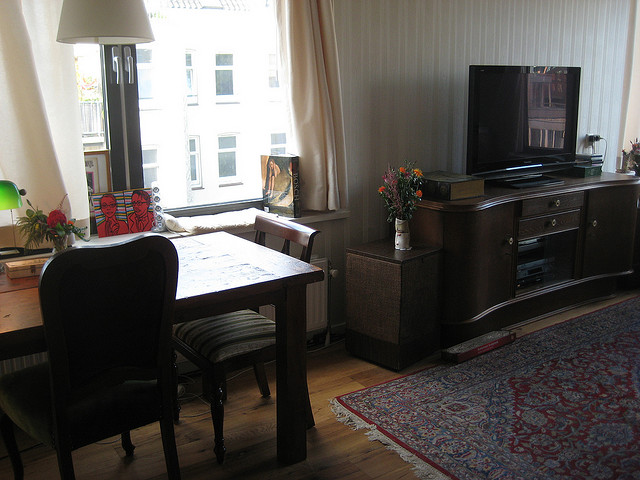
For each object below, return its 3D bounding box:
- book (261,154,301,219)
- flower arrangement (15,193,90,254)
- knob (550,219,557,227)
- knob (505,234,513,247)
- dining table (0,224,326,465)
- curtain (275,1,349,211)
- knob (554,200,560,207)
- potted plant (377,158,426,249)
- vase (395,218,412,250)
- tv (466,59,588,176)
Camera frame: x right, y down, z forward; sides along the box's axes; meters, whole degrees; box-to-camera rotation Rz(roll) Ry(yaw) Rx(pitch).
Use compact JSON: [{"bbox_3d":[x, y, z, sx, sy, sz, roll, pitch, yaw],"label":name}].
[{"bbox_3d":[-0.240,-0.350,3.216,0.333,0.442,0.060,17,28,40],"label":"book"},{"bbox_3d":[-1.223,-0.047,2.238,0.380,0.244,0.171,8,19,35],"label":"flower arrangement"},{"bbox_3d":[1.690,-0.125,3.692,0.043,0.045,0.011,0,5,-32],"label":"knob"},{"bbox_3d":[1.280,0.000,3.459,0.026,0.079,0.078,12,22,43],"label":"knob"},{"bbox_3d":[-0.683,0.312,2.536,1.207,0.768,1.208,-13,29,-30],"label":"dining table"},{"bbox_3d":[-0.050,-0.838,3.218,0.388,1.297,0.181,-4,15,-4],"label":"curtain"},{"bbox_3d":[1.712,-0.274,3.689,0.048,0.049,0.013,0,2,-41],"label":"knob"},{"bbox_3d":[0.518,-0.217,3.262,0.322,0.544,0.269,4,-9,-25],"label":"potted plant"},{"bbox_3d":[0.525,-0.036,3.262,0.110,0.174,0.111,8,13,29],"label":"vase"},{"bbox_3d":[1.544,-0.919,3.900,1.316,0.794,0.108,-12,13,-33],"label":"tv"}]
